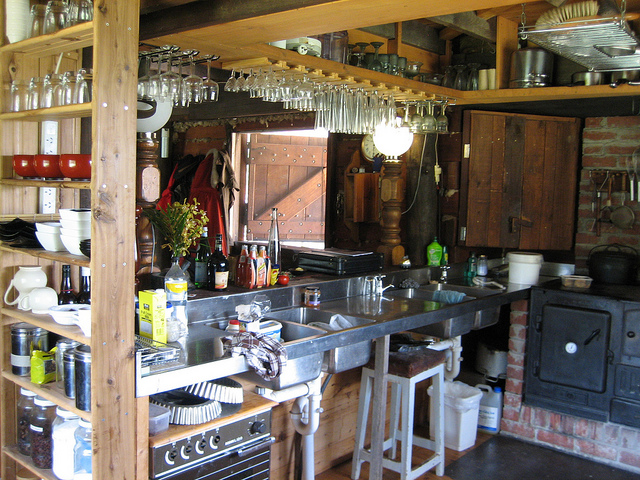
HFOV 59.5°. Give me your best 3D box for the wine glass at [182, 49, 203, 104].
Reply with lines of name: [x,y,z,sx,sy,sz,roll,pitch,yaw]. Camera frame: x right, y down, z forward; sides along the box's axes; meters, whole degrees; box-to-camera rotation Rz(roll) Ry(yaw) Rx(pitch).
wine glass: [-0.739,-0.944,3.216,0.111,0.326,0.320,-3,6,-13]

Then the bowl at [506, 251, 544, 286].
bowl: [1.663,0.214,4.606,0.272,0.231,0.263,1,7,0]

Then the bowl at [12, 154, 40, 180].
bowl: [-1.477,-0.371,2.812,0.139,0.105,0.136,1,9,0]

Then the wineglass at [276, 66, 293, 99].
wineglass: [-0.213,-0.895,3.294,0.097,0.124,0.064,-2,6,-5]

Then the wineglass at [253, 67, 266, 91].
wineglass: [-0.354,-0.921,3.274,0.081,0.101,0.062,0,6,7]

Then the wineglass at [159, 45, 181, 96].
wineglass: [-0.844,-0.943,3.136,0.117,0.294,0.243,-3,6,-14]

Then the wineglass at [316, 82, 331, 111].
wineglass: [0.019,-0.924,3.579,0.092,0.195,0.218,-1,6,0]

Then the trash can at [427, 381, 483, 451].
trash can: [1.019,1.293,4.235,0.355,0.417,0.375,-8,11,-40]

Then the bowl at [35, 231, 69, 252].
bowl: [-1.309,0.005,2.709,0.103,0.072,0.130,4,6,19]

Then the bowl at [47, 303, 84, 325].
bowl: [-1.187,0.333,2.591,0.113,0.040,0.114,4,9,-1]

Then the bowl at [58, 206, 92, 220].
bowl: [-1.144,-0.127,2.611,0.187,0.057,0.127,4,6,33]

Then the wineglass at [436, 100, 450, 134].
wineglass: [0.968,-0.978,4.421,0.093,0.264,0.264,0,6,13]

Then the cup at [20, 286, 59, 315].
cup: [-1.379,0.294,2.753,0.207,0.124,0.119,4,8,39]

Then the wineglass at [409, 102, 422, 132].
wineglass: [0.739,-0.951,4.332,0.095,0.235,0.212,0,6,9]

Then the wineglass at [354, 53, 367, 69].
wineglass: [0.259,-1.165,3.663,0.112,0.114,0.109,-1,16,-2]

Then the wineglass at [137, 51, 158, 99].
wineglass: [-0.956,-0.899,3.085,0.109,0.249,0.105,2,6,-17]

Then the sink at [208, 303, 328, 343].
sink: [-0.273,0.469,3.102,0.375,0.131,0.318,12,10,37]

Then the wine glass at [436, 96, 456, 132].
wine glass: [0.956,-0.974,4.383,0.226,0.256,0.221,5,9,16]

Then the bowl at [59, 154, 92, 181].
bowl: [-1.126,-0.345,2.606,0.159,0.105,0.163,2,8,0]

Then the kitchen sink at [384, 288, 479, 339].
kitchen sink: [0.725,0.541,3.849,0.441,0.135,0.476,5,8,39]

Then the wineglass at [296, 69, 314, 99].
wineglass: [-0.084,-0.906,3.353,0.070,0.119,0.140,2,7,27]

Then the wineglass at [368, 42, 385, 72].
wineglass: [0.381,-1.250,3.816,0.090,0.244,0.282,-1,6,6]

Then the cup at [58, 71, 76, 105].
cup: [-1.191,-0.710,2.632,0.091,0.151,0.089,6,23,-3]

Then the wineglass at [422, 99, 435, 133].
wineglass: [0.833,-0.956,4.305,0.089,0.249,0.178,0,6,11]

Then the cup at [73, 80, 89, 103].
cup: [-1.105,-0.678,2.561,0.096,0.105,0.044,1,6,21]

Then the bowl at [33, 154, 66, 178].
bowl: [-1.322,-0.358,2.734,0.136,0.090,0.131,1,6,0]

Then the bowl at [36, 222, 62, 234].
bowl: [-1.308,-0.072,2.690,0.096,0.032,0.076,7,7,23]

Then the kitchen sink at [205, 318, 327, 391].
kitchen sink: [-0.228,0.616,2.890,0.477,0.180,0.386,10,11,40]

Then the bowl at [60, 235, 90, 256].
bowl: [-1.137,0.017,2.602,0.116,0.085,0.104,3,2,40]
